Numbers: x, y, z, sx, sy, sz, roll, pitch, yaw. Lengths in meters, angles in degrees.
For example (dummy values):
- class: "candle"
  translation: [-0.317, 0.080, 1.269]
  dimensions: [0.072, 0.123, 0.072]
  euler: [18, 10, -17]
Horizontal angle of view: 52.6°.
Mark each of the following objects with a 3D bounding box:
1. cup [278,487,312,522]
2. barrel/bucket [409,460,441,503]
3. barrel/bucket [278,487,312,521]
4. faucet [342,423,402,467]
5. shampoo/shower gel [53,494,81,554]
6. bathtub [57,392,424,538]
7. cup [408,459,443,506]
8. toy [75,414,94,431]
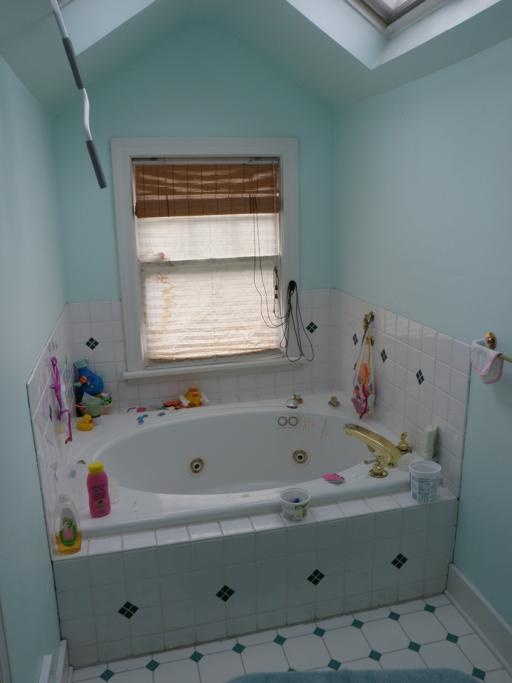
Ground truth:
- class: "cup"
  translation: [0.152, 0.641, 2.029]
  dimensions: [0.116, 0.102, 0.134]
  euler: [-2, 6, 5]
- class: "barrel/bucket"
  translation: [0.683, 0.572, 2.170]
  dimensions: [0.128, 0.138, 0.153]
  euler: [-3, 17, -3]
- class: "barrel/bucket"
  translation: [0.152, 0.641, 2.029]
  dimensions: [0.116, 0.102, 0.134]
  euler: [-2, 6, 5]
- class: "faucet"
  translation: [0.523, 0.465, 2.384]
  dimensions: [0.094, 0.086, 0.346]
  euler: [-14, 19, -20]
- class: "shampoo/shower gel"
  translation: [-0.671, 0.649, 1.842]
  dimensions: [0.086, 0.175, 0.125]
  euler: [-4, 6, -20]
- class: "bathtub"
  translation: [-0.159, 0.664, 2.559]
  dimensions: [1.459, 0.462, 1.095]
  euler: [-4, 6, -14]
- class: "cup"
  translation: [0.686, 0.578, 2.168]
  dimensions: [0.155, 0.143, 0.131]
  euler: [-12, 17, -39]
- class: "toy"
  translation: [-0.911, 0.429, 2.758]
  dimensions: [0.065, 0.094, 0.097]
  euler: [0, 0, -16]
